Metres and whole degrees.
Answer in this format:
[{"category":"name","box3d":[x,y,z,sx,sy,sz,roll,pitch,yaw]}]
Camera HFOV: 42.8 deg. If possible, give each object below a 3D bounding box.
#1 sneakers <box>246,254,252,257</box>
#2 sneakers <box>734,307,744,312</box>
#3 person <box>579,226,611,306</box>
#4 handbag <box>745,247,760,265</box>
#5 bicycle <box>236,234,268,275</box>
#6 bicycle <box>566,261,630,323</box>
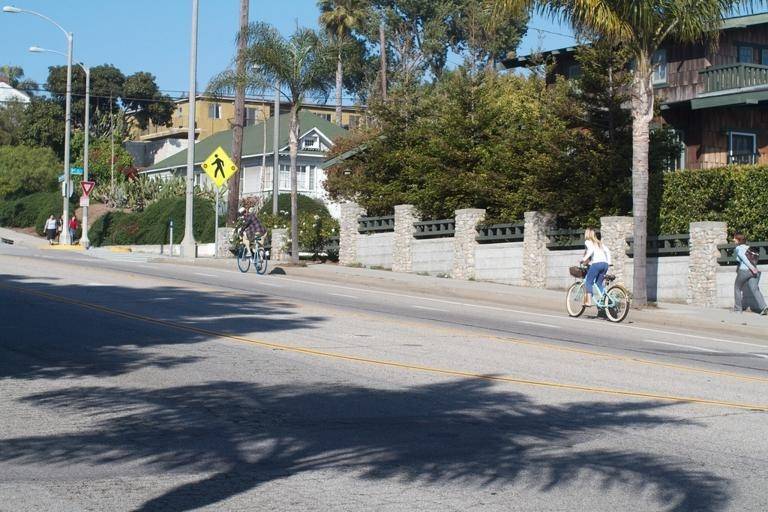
[{"category":"sneakers","box3d":[-4.856,-0.051,34.658,0.044,0.110,0.285,2,-3,-41]},{"category":"sneakers","box3d":[10.269,1.542,28.318,0.214,0.113,0.501,-1,-2,22]},{"category":"person","box3d":[5.564,0.273,25.734,0.678,2.004,0.592,-1,-2,27]},{"category":"handbag","box3d":[10.645,-0.027,28.288,0.531,0.630,0.424,-2,2,-42]},{"category":"bicycle","box3d":[-4.578,0.024,34.983,0.970,1.145,1.863,-2,8,-35]},{"category":"bicycle","box3d":[5.804,1.066,26.178,0.990,1.276,2.105,0,5,-32]}]
